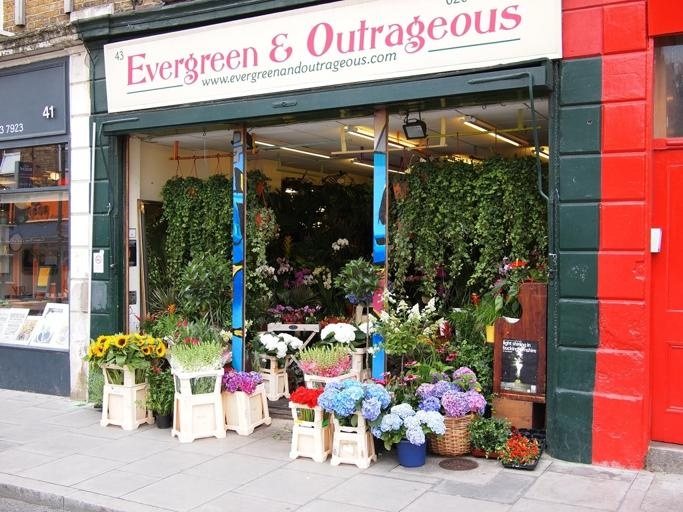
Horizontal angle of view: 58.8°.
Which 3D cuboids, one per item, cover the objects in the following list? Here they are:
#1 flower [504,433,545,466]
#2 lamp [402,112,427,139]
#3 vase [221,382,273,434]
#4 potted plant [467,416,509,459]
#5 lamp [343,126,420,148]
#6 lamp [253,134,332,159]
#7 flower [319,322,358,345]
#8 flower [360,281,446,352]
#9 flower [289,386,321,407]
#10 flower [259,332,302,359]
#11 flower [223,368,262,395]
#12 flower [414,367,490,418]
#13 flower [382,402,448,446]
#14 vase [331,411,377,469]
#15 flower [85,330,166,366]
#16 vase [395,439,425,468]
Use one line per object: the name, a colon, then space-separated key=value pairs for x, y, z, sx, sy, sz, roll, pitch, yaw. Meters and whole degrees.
flower: x=1.907 y=2.026 z=6.412 sx=0.257 sy=0.161 sz=0.376 roll=2 pitch=9 yaw=21
lamp: x=0.975 y=-1.742 z=8.113 sx=0.285 sy=0.227 sz=0.405 roll=1 pitch=-23 yaw=24
vase: x=-1.220 y=1.848 z=7.729 sx=0.491 sy=0.609 sz=0.622 roll=-3 pitch=0 yaw=26
potted plant: x=1.580 y=1.936 z=6.561 sx=0.381 sy=0.298 sz=0.398 roll=2 pitch=0 yaw=7
lamp: x=0.492 y=-1.807 z=9.495 sx=1.543 sy=0.296 sz=0.583 roll=-8 pitch=8 yaw=-44
lamp: x=-0.894 y=-1.864 z=10.709 sx=0.717 sy=0.264 sz=2.296 roll=1 pitch=7 yaw=30
flower: x=-0.060 y=1.063 z=8.090 sx=0.477 sy=0.284 sz=0.386 roll=-1 pitch=6 yaw=10
flower: x=0.748 y=0.773 z=7.569 sx=0.816 sy=0.735 sz=0.834 roll=1 pitch=-2 yaw=-7
flower: x=-0.382 y=1.562 z=6.744 sx=0.221 sy=0.138 sz=0.229 roll=1 pitch=4 yaw=17
flower: x=-0.895 y=1.262 z=8.692 sx=0.430 sy=0.300 sz=0.449 roll=4 pitch=3 yaw=4
flower: x=-1.245 y=1.554 z=7.478 sx=0.295 sy=0.180 sz=0.310 roll=2 pitch=1 yaw=18
flower: x=1.184 y=1.513 z=6.588 sx=0.475 sy=0.402 sz=0.616 roll=1 pitch=4 yaw=36
flower: x=0.710 y=1.761 z=6.318 sx=0.511 sy=0.304 sz=0.416 roll=-4 pitch=31 yaw=3
vase: x=0.124 y=1.935 z=6.701 sx=0.500 sy=0.720 sz=0.539 roll=2 pitch=7 yaw=18
flower: x=-2.747 y=1.217 z=7.716 sx=0.557 sy=0.269 sz=0.585 roll=1 pitch=0 yaw=4
vase: x=0.733 y=2.094 z=6.360 sx=0.281 sy=0.222 sz=0.293 roll=-1 pitch=-10 yaw=-1
